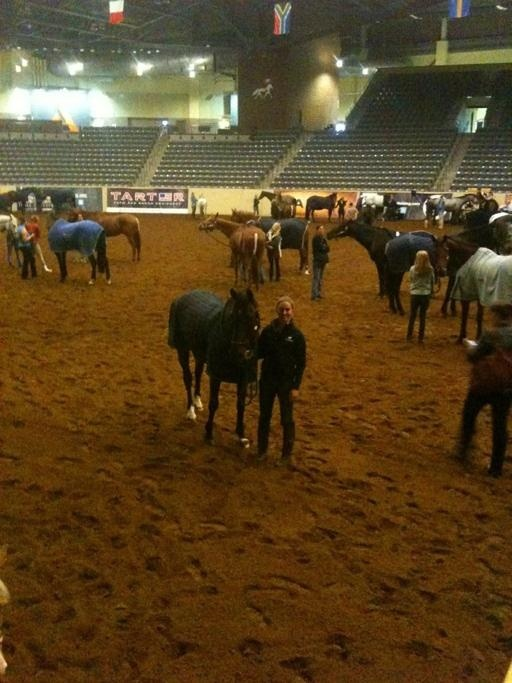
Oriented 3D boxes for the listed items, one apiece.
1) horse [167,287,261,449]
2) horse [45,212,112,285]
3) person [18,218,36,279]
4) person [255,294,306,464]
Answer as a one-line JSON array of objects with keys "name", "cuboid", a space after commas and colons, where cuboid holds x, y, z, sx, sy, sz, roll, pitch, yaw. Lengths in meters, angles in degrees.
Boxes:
[{"name": "horse", "cuboid": [-0.483, 0.161, 6.615, 0.684, 1.743, 2.562, -3, 11, -20]}, {"name": "horse", "cuboid": [-4.787, -2.437, 15.816, 2.515, 1.742, 0.750, 6, 11, 27]}, {"name": "person", "cuboid": [-6.269, -2.508, 16.412, 0.452, 1.578, 2.267, -4, 15, -21]}, {"name": "person", "cuboid": [0.241, 0.375, 6.003, 0.472, 1.663, 0.585, 1, 14, 2]}]
